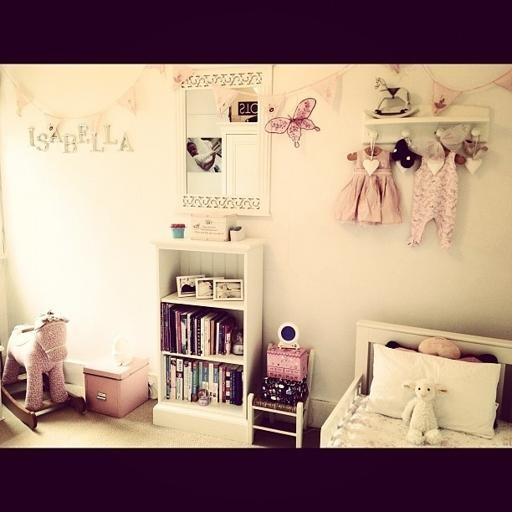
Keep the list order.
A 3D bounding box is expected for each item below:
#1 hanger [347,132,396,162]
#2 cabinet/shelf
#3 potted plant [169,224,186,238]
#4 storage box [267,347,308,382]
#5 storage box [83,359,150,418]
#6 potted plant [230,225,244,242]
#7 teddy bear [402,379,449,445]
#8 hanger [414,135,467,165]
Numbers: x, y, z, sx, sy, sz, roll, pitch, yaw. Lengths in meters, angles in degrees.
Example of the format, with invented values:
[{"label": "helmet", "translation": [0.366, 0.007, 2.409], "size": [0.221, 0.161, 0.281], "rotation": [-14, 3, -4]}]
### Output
[{"label": "hanger", "translation": [0.535, -0.498, 2.241], "size": [0.145, 0.093, 0.022], "rotation": [1, 0, 16]}, {"label": "cabinet/shelf", "translation": [-0.249, 0.402, 2.564], "size": [0.569, 0.991, 0.402], "rotation": [3, 11, 13]}, {"label": "potted plant", "translation": [-0.403, -0.130, 2.523], "size": [0.069, 0.063, 0.069], "rotation": [-3, 5, -34]}, {"label": "storage box", "translation": [0.155, 0.518, 2.402], "size": [0.233, 0.179, 0.144], "rotation": [2, 5, 20]}, {"label": "storage box", "translation": [-0.776, 0.736, 2.807], "size": [0.275, 0.273, 0.300], "rotation": [4, 6, 27]}, {"label": "potted plant", "translation": [-0.095, -0.116, 2.474], "size": [0.055, 0.070, 0.130], "rotation": [4, 11, 14]}, {"label": "teddy bear", "translation": [0.622, 0.577, 1.812], "size": [0.152, 0.194, 0.168], "rotation": [4, 11, 15]}, {"label": "hanger", "translation": [0.800, -0.459, 2.112], "size": [0.180, 0.129, 0.074], "rotation": [6, 2, 19]}]
